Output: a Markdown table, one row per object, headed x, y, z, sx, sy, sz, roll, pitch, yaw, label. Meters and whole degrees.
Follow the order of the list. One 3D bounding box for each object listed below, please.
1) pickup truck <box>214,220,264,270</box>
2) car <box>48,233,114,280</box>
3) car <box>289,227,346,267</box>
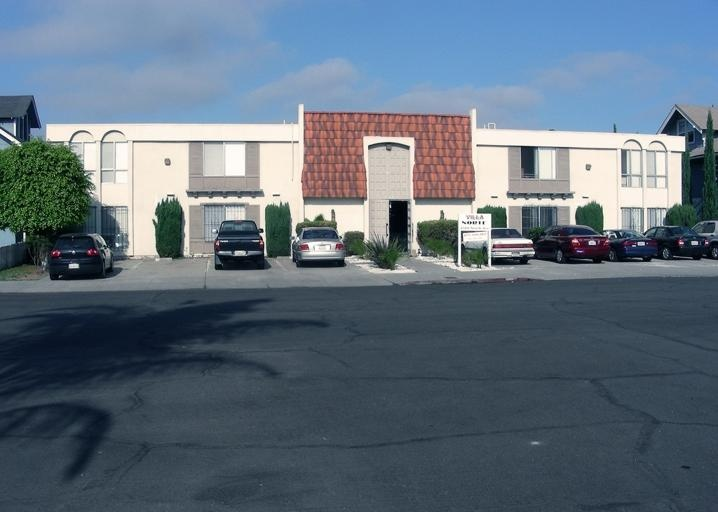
| x | y | z | sx | sy | sz | roll | pitch | yaw | label |
| --- | --- | --- | --- | --- | --- | --- | --- | --- | --- |
| -4.626 | -0.422 | 31.521 | 1.812 | 1.751 | 2.624 | 0 | 7 | -10 | pickup truck |
| -9.447 | -0.005 | 28.034 | 1.650 | 1.653 | 2.160 | 1 | 7 | 5 | car |
| -1.520 | -0.308 | 32.130 | 1.720 | 1.588 | 2.200 | -1 | 7 | -12 | car |
